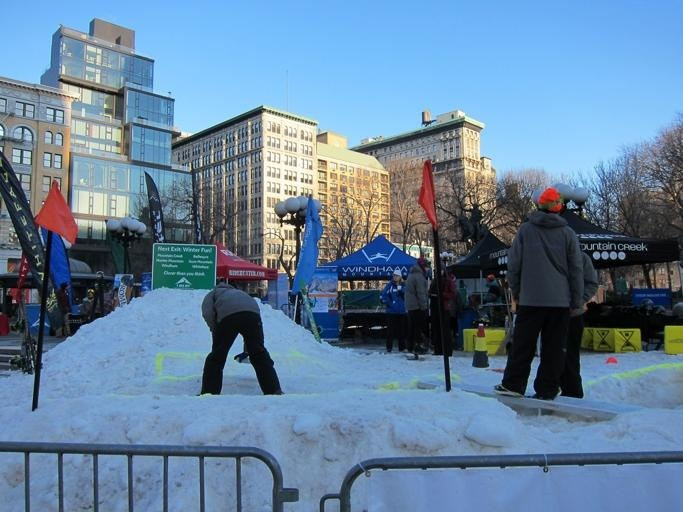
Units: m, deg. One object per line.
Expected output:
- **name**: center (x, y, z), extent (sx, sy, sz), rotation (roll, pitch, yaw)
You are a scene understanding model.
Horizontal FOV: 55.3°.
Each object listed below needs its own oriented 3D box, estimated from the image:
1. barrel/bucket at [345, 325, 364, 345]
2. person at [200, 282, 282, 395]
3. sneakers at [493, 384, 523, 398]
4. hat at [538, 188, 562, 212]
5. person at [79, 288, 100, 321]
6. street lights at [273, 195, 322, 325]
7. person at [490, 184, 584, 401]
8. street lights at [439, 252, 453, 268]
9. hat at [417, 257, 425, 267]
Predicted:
- **barrel/bucket**: center (0.328, 2.286, 18.861), extent (0.448, 0.460, 0.464), rotation (-1, -14, 0)
- **person**: center (-1.387, 1.141, 8.521), extent (0.918, 1.964, 0.777), rotation (-5, -38, -18)
- **sneakers**: center (1.916, 1.575, 7.580), extent (0.330, 0.158, 0.124), rotation (8, -9, 37)
- **hat**: center (2.539, -0.668, 7.950), extent (0.217, 0.281, 0.308), rotation (-7, 10, 19)
- **person**: center (-9.357, 1.816, 23.963), extent (0.617, 1.438, 0.491), rotation (5, 15, -38)
- **street lights**: center (-0.992, 0.152, 15.537), extent (0.942, 3.088, 0.717), rotation (-4, 11, -10)
- **person**: center (2.343, 0.551, 7.688), extent (0.927, 2.172, 0.516), rotation (-1, -2, 20)
- **street lights**: center (4.047, 0.127, 25.220), extent (0.557, 0.703, 0.586), rotation (-2, 1, -7)
- **hat**: center (1.633, 0.113, 13.372), extent (0.167, 0.170, 0.132), rotation (-4, 13, -43)
